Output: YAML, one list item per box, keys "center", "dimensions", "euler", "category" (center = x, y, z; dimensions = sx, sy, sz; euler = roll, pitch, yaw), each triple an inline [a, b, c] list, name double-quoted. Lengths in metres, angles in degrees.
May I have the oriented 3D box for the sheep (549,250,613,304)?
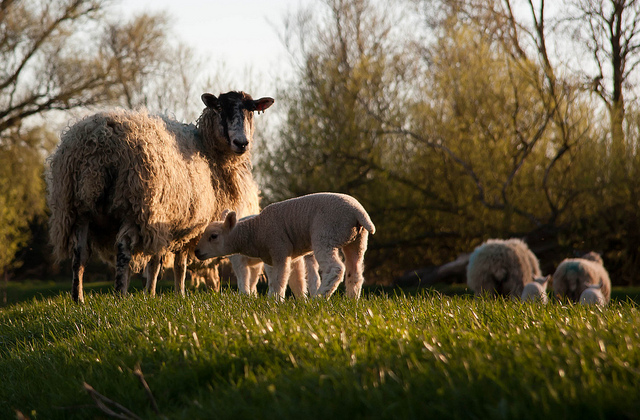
- center: [5.515, 1.389, 17.748]
  dimensions: [1.147, 1.397, 4.687]
  euler: [0, -9, 17]
  category: "sheep"
